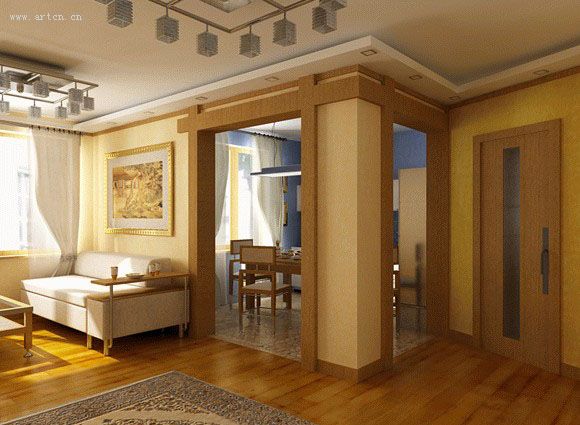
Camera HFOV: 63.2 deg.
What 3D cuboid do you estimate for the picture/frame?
[{"bbox_3d":[-2.318,-0.377,7.376,0.042,1.154,1.634,-1,0,-43],"label":"picture/frame"}]

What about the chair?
[{"bbox_3d":[-0.407,1.056,7.762,0.832,1.182,1.350,-1,7,-1],"label":"chair"}]

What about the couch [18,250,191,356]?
[{"bbox_3d":[-2.569,1.186,6.704,2.127,1.078,1.226,5,9,38],"label":"couch"}]
